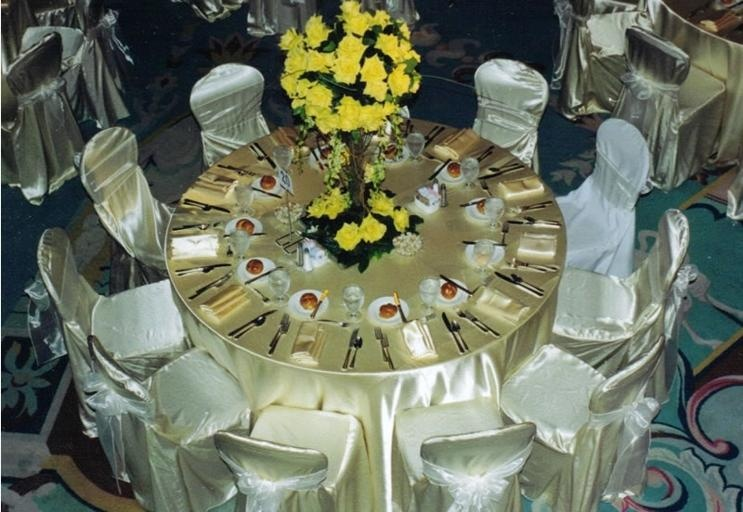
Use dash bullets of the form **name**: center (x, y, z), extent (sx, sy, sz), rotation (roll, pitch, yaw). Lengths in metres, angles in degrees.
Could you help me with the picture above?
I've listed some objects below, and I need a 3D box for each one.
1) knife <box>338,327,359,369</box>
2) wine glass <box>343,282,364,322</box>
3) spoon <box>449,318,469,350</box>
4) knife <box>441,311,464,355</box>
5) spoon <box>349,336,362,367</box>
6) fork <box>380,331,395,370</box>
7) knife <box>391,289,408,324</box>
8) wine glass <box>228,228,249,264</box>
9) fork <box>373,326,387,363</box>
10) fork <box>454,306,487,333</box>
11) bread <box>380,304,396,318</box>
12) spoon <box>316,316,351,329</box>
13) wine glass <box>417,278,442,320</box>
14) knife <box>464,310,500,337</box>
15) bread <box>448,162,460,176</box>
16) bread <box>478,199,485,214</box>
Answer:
- **knife**: center (-0.104, 0.470, 3.122), extent (0.052, 0.210, 0.024), rotation (10, -27, 11)
- **wine glass**: center (-0.094, 0.243, 3.224), extent (0.100, 0.176, 0.112), rotation (22, 31, 37)
- **spoon**: center (0.447, 0.399, 3.189), extent (0.050, 0.028, 0.197), rotation (-18, 41, 1)
- **knife**: center (0.424, 0.396, 3.204), extent (0.050, 0.044, 0.295), rotation (-12, 47, -1)
- **spoon**: center (-0.084, 0.483, 3.143), extent (0.036, 0.166, 0.023), rotation (19, -35, 0)
- **fork**: center (0.086, 0.485, 3.125), extent (0.047, 0.014, 0.182), rotation (0, 43, -15)
- **knife**: center (0.154, 0.272, 3.275), extent (0.030, 0.141, 0.096), rotation (-27, -24, 16)
- **wine glass**: center (-0.762, -0.048, 3.499), extent (0.110, 0.121, 0.176), rotation (10, -32, 1)
- **fork**: center (0.052, 0.453, 3.155), extent (0.042, 0.189, 0.028), rotation (-2, -38, -10)
- **fork**: center (0.513, 0.328, 3.283), extent (0.061, 0.042, 0.287), rotation (-32, 39, -10)
- **bread**: center (0.086, 0.292, 3.241), extent (0.091, 0.058, 0.045), rotation (8, 3, 12)
- **spoon**: center (-0.203, 0.354, 3.246), extent (0.226, 0.034, 0.035), rotation (6, -14, 9)
- **wine glass**: center (0.314, 0.215, 3.276), extent (0.123, 0.215, 0.136), rotation (-2, -7, 42)
- **knife**: center (0.583, 0.359, 3.234), extent (0.176, 0.030, 0.026), rotation (44, -5, 37)
- **bread**: center (0.528, -0.553, 3.935), extent (0.076, 0.038, 0.080), rotation (-13, 50, -10)
- **bread**: center (0.663, -0.301, 3.700), extent (0.041, 0.070, 0.089), rotation (7, 3, 0)
